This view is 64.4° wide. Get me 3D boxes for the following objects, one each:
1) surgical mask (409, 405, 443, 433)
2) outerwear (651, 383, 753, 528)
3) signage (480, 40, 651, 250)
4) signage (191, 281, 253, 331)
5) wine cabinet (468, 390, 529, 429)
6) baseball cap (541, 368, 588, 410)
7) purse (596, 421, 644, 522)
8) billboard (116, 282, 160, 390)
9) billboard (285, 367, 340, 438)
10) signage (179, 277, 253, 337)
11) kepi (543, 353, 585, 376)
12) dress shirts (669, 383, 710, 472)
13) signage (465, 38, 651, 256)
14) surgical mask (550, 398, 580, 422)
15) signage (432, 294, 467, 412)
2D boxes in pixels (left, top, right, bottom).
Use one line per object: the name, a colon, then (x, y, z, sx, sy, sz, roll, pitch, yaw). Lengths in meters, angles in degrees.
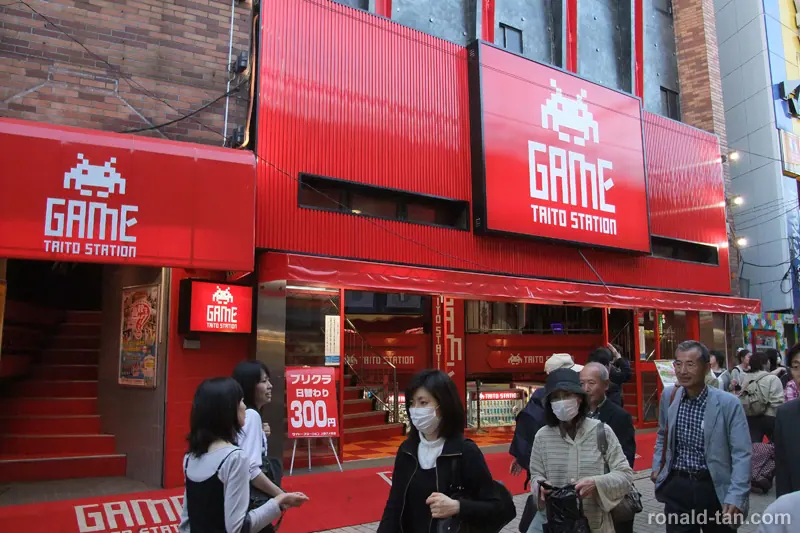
surgical mask: (0.239, 1.437, 6.027, 0.240, 0.195, 0.248, -13, -8, 34)
outerwear: (3.396, 2.110, 7.295, 0.717, 1.465, 1.239, 1, 2, -44)
signage: (3.520, -2.474, 13.887, 4.810, 3.711, 0.479, 7, -16, -32)
signage: (-2.978, 0.660, 10.452, 0.782, 0.594, 0.100, 6, -14, -38)
wine cabinet: (2.041, 3.113, 14.478, 1.330, 0.863, 0.713, 3, 3, -16)
baseball cap: (1.679, 1.185, 6.584, 0.461, 0.237, 0.361, -9, -12, 29)
purse: (2.263, 2.128, 6.548, 0.293, 1.066, 0.541, -8, -11, 33)
billboard: (-4.347, 1.197, 10.616, 0.079, 2.016, 1.695, 4, -5, -35)
billboard: (-1.506, 2.289, 10.640, 1.189, 1.498, 0.139, 0, -17, -18)
signage: (-3.071, 0.670, 10.422, 0.903, 0.682, 0.287, 6, -12, -39)
kepi: (2.090, 1.200, 8.081, 0.511, 0.214, 0.366, -3, 4, -17)
dress shirts: (3.320, 1.803, 7.313, 0.436, 1.066, 0.370, 0, 15, 24)
signage: (3.338, -2.419, 13.805, 4.950, 3.761, 0.487, 7, -15, -33)
surgical mask: (1.658, 1.439, 6.408, 0.222, 0.177, 0.230, -4, -10, 15)
signage: (1.007, 1.367, 13.721, 0.730, 1.951, 0.165, 6, -39, -4)
